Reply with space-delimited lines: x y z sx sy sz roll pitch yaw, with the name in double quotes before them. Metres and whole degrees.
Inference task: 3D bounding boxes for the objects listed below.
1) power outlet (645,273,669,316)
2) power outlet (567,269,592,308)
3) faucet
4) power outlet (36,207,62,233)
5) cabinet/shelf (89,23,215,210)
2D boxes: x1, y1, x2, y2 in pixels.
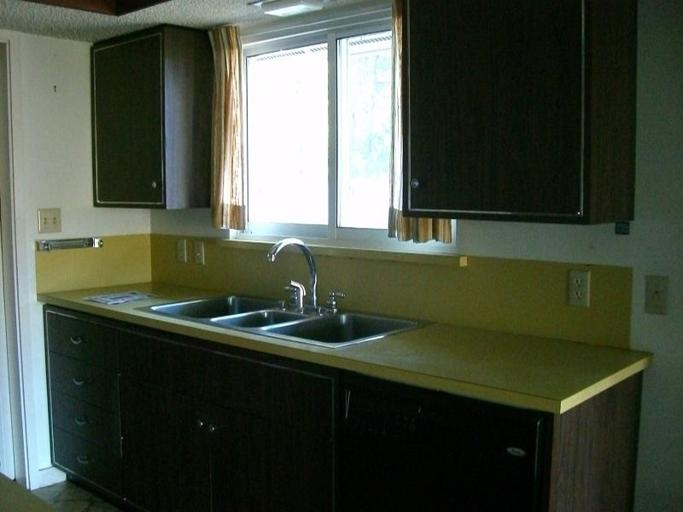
"power outlet" 1.166 0.150 2.315 0.095 0.153 0.100 -2 5 -12
"power outlet" 0.924 0.128 2.430 0.082 0.158 0.015 8 24 38
"faucet" -0.220 0.074 3.006 0.216 0.364 0.571 -4 11 -4
"power outlet" -1.648 -0.202 3.510 0.014 0.151 0.138 0 0 39
"cabinet/shelf" -1.089 -0.744 3.486 0.750 0.958 0.344 2 11 25
